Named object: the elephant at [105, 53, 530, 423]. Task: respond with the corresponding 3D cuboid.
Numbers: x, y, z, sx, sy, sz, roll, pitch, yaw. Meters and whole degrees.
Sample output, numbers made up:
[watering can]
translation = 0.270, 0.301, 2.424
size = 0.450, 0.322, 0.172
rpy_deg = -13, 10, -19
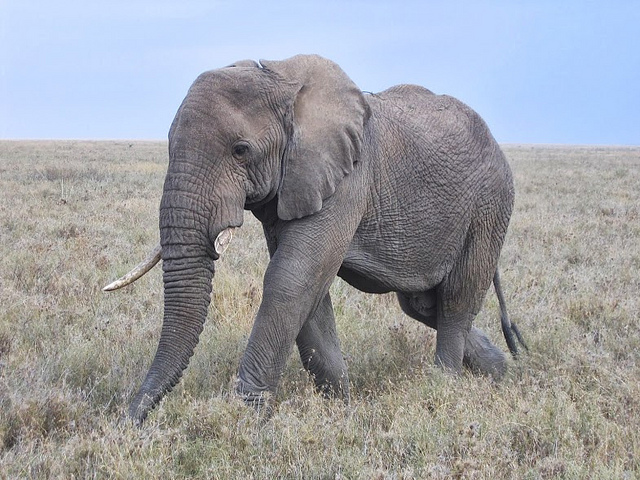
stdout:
[elephant]
translation = 0.321, 0.045, 6.690
size = 3.884, 3.975, 2.106
rpy_deg = -1, 22, -16
